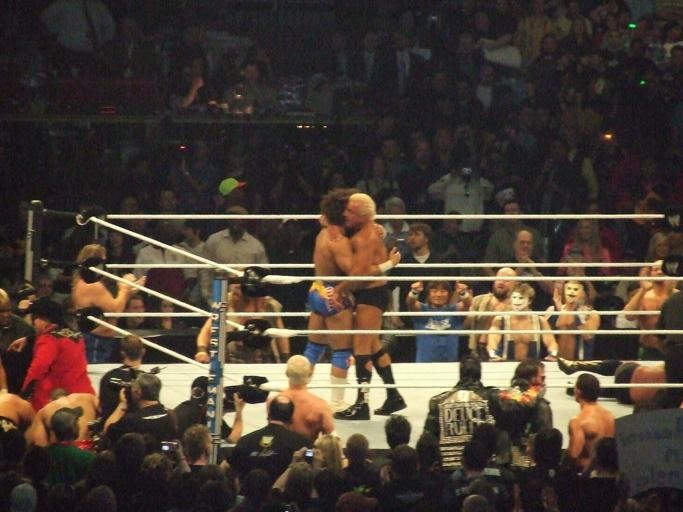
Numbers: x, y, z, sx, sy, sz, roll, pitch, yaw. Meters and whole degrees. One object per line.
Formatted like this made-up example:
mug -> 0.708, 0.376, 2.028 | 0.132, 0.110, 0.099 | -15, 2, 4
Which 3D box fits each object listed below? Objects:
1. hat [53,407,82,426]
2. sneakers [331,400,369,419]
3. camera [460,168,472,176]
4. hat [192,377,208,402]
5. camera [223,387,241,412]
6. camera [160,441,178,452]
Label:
hat -> -2.468, 1.406, 12.059 | 0.290, 0.140, 0.136 | 7, -13, -21
sneakers -> 0.098, 1.435, 12.489 | 0.332, 0.173, 0.085 | 3, -12, -2
camera -> 1.446, -0.959, 15.495 | 0.154, 0.125, 0.083 | -1, -4, -1
hat -> -1.295, 1.194, 12.176 | 0.160, 0.232, 0.104 | 2, -13, 5
camera -> -0.971, 1.231, 11.718 | 0.134, 0.216, 0.247 | 4, -12, -5
camera -> -1.521, 1.669, 11.839 | 0.104, 0.060, 0.095 | 1, -4, -11
